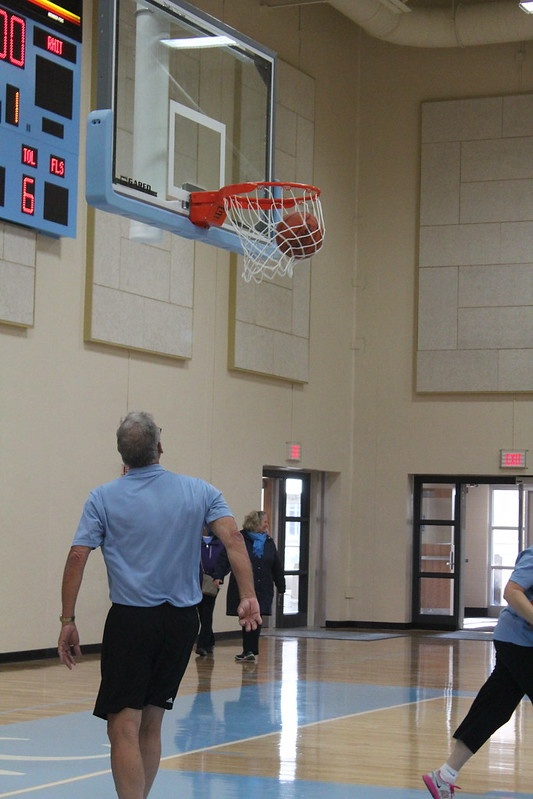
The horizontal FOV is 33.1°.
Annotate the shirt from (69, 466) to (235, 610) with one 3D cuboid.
[{"bbox_3d":[-0.324,0.397,2.615,0.452,0.425,0.175,0,4,-6],"label":"shirt"}]

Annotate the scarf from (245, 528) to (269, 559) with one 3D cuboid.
[{"bbox_3d":[-0.097,1.464,9.100,0.168,0.238,0.090,-7,5,-35],"label":"scarf"}]

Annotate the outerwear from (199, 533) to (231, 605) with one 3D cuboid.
[{"bbox_3d":[-0.631,1.696,9.254,0.411,0.567,0.309,15,-11,-25],"label":"outerwear"}]
